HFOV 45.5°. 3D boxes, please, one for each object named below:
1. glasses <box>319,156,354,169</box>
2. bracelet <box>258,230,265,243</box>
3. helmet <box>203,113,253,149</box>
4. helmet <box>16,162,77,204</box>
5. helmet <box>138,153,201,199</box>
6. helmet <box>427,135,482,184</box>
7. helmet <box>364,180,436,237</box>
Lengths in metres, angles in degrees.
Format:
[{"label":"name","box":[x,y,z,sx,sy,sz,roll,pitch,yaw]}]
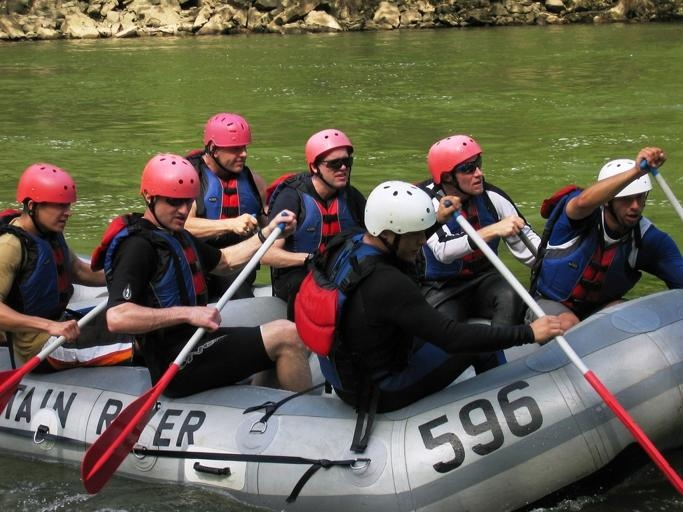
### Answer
[{"label":"glasses","box":[-0.019,-0.833,7.264,0.314,0.116,0.133,-12,24,-29]},{"label":"bracelet","box":[-0.668,-0.155,6.591,0.051,0.091,0.079,-31,16,7]},{"label":"helmet","box":[-1.176,-1.217,7.933,0.442,0.231,0.356,4,8,31]},{"label":"helmet","box":[-2.421,-0.572,6.519,0.451,0.231,0.319,11,8,10]},{"label":"helmet","box":[-1.311,-0.598,6.062,0.421,0.288,0.331,10,16,39]},{"label":"helmet","box":[0.946,-0.841,7.069,0.514,0.340,0.375,0,21,35]},{"label":"helmet","box":[0.381,-0.333,5.454,0.450,0.303,0.333,15,22,26]}]
